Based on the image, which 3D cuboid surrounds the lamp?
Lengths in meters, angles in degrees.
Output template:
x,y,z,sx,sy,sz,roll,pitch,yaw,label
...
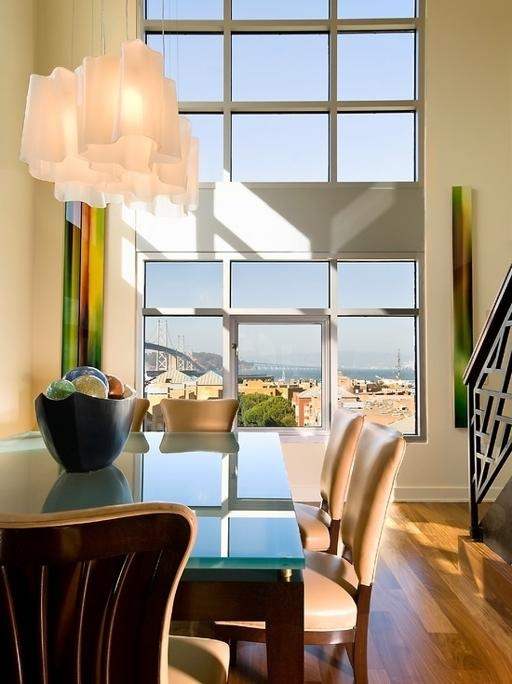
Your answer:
x,y,z,sx,sy,sz,roll,pitch,yaw,label
-0.549,-0.809,2.332,0.591,0.481,0.747,-1,0,2,lamp
